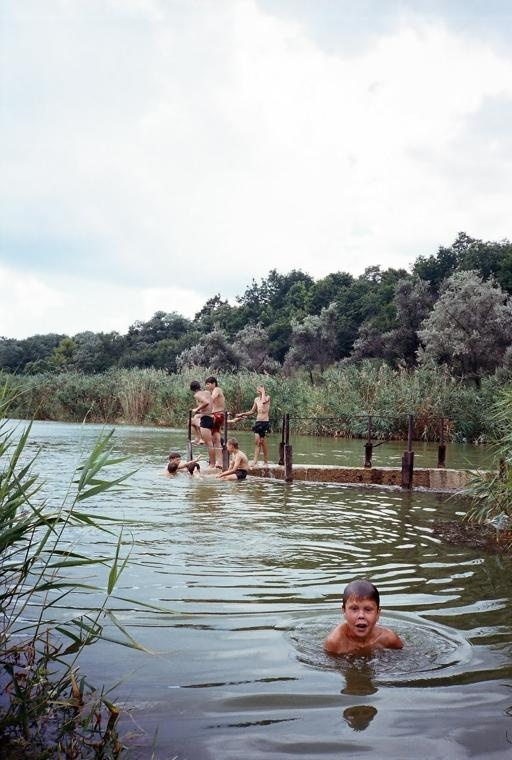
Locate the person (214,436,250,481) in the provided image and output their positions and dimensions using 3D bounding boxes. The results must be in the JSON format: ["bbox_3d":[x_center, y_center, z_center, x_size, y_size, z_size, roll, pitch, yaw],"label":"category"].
[{"bbox_3d":[-0.424,1.676,13.249,0.742,0.912,0.545,-3,-6,-1],"label":"person"}]
